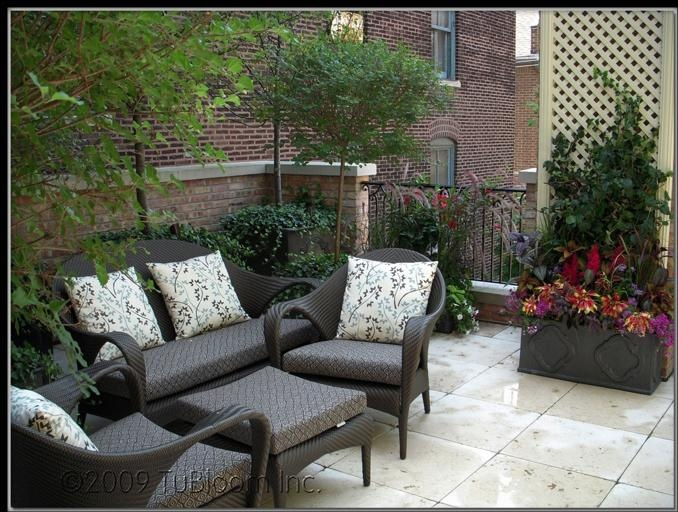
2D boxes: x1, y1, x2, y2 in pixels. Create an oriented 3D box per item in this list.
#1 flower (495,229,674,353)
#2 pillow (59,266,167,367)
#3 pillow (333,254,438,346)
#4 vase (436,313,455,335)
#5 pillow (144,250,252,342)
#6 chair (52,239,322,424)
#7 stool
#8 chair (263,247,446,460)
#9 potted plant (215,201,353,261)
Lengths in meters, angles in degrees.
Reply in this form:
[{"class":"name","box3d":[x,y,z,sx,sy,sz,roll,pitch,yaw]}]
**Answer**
[{"class":"flower","box3d":[2.088,0.313,4.259,1.174,0.934,0.653,2,-7,30]},{"class":"pillow","box3d":[-1.524,0.384,3.515,0.321,0.540,0.534,12,17,43]},{"class":"pillow","box3d":[0.379,0.211,4.041,0.865,0.236,0.863,8,19,18]},{"class":"vase","box3d":[1.119,0.699,5.414,0.217,0.237,0.222,0,0,28]},{"class":"pillow","box3d":[-1.050,0.296,3.892,0.194,0.612,0.646,-30,-9,38]},{"class":"chair","box3d":[-1.232,0.551,3.846,1.146,1.005,1.900,9,6,24]},{"class":"stool","box3d":[-0.284,0.756,2.846,0.880,0.444,0.671,4,6,44]},{"class":"chair","box3d":[0.208,0.559,3.987,1.209,1.244,1.339,5,9,25]},{"class":"potted plant","box3d":[-0.844,-0.338,6.488,0.797,0.296,0.833,-3,-19,39]}]
